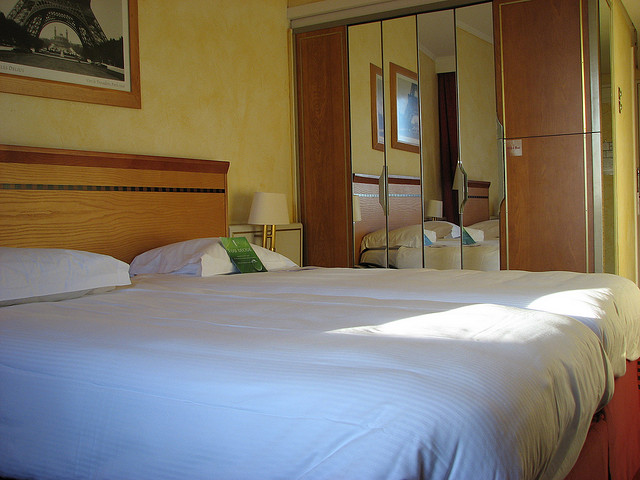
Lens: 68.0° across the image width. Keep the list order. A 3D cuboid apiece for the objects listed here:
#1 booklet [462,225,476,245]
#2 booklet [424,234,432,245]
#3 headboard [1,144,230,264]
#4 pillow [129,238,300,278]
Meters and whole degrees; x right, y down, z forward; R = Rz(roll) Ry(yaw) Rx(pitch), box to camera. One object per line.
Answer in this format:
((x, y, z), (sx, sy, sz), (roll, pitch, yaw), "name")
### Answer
((1.221, -0.050, 3.870), (0.098, 0.181, 0.015), (-25, 2, 45), "booklet")
((0.926, -0.014, 4.040), (0.012, 0.091, 0.083), (-13, 11, -40), "booklet")
((-1.323, -0.242, 2.903), (0.373, 0.642, 1.611), (4, 6, 32), "headboard")
((-0.659, 0.081, 3.011), (0.825, 0.250, 0.875), (6, 2, 35), "pillow")
